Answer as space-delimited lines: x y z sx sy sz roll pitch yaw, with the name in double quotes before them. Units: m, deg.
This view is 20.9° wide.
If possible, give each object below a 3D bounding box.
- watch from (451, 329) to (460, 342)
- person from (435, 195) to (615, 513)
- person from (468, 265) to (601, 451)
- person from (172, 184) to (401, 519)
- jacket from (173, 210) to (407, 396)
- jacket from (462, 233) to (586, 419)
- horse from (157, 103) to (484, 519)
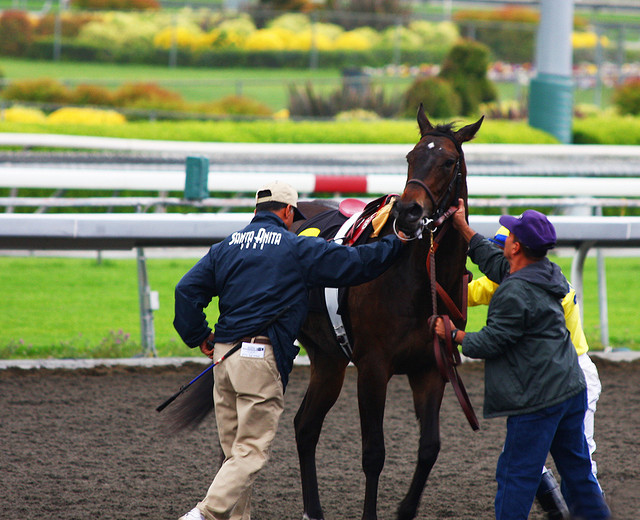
"watch" 0.825 0.459 10.624 0.024 0.063 0.045 19 8 20
"person" 1.277 0.630 10.472 0.724 1.788 0.476 -5 10 -21
"person" 1.305 0.636 10.756 0.239 1.172 0.614 -10 -27 -15
"person" -0.282 0.530 10.624 1.178 1.929 0.617 -3 10 -8
"jacket" -0.233 0.242 10.683 1.325 1.087 0.327 -3 10 -7
"jacket" 1.238 0.463 10.630 0.560 1.130 0.596 6 15 -2
"horse" -0.330 0.350 10.984 1.471 3.058 3.364 -2 20 -14
